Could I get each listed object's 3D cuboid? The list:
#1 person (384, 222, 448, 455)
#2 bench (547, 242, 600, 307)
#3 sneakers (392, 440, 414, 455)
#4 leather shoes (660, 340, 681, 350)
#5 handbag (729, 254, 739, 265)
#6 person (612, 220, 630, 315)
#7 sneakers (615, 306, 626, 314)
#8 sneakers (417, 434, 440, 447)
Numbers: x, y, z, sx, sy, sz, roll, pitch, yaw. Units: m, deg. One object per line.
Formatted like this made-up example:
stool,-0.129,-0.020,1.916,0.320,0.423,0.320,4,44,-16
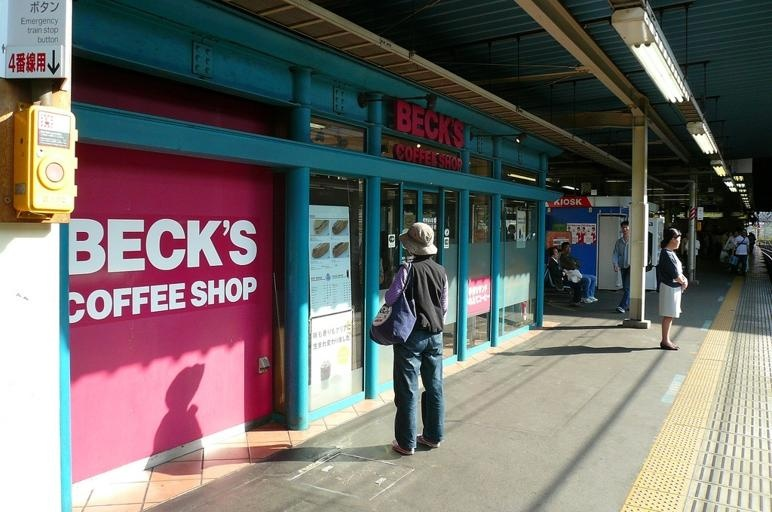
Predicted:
person,0.365,0.901,6.210,0.588,2.510,0.742,3,9,20
bench,5.111,0.450,15.138,0.954,1.696,0.672,-4,8,35
sneakers,0.189,2.136,6.158,0.217,0.087,0.109,14,10,29
leather shoes,5.123,1.605,10.031,0.268,0.105,0.154,-5,-2,41
handbag,15.819,0.142,25.237,0.467,0.464,0.276,3,-4,8
person,5.983,0.292,14.110,0.402,2.216,1.597,4,9,22
sneakers,5.797,1.341,13.707,0.094,0.113,0.266,33,-4,6
sneakers,0.469,2.114,6.327,0.256,0.116,0.110,22,11,27
